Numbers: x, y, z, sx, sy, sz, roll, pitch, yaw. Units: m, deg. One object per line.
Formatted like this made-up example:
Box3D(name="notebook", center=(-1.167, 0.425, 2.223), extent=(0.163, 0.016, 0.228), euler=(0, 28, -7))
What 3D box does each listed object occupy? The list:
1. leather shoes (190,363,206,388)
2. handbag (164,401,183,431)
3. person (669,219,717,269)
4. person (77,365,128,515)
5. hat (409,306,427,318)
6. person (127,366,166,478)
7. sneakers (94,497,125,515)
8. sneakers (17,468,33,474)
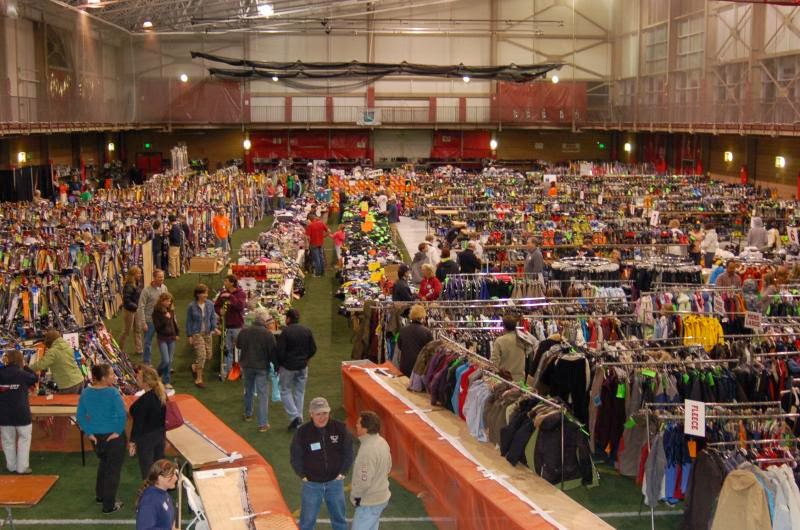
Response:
Box3D(name="leather shoes", center=(-3.595, 1.863, 12.162), extent=(0.188, 0.277, 0.644), euler=(1, 40, -32))
Box3D(name="handbag", center=(-2.864, 1.894, 8.545), extent=(0.202, 0.433, 0.377), euler=(-2, 5, -21))
Box3D(name="person", center=(7.614, -0.534, 17.734), extent=(1.651, 0.580, 0.801), euler=(11, 35, 22))
Box3D(name="person", center=(-3.677, 2.155, 8.391), extent=(0.566, 1.890, 0.227), euler=(-2, 4, -16))
Box3D(name="hat", center=(0.264, 0.716, 10.491), extent=(0.183, 0.138, 0.196), euler=(-1, 13, 4))
Box3D(name="person", center=(-3.064, 1.929, 8.262), extent=(0.432, 1.407, 0.348), euler=(-2, 4, -21))
Box3D(name="sneakers", center=(-3.671, 3.032, 8.544), extent=(0.117, 0.238, 0.330), euler=(14, 19, 36))
Box3D(name="sneakers", center=(-5.137, 2.807, 9.298), extent=(0.183, 0.089, 0.070), euler=(2, 8, -13))
